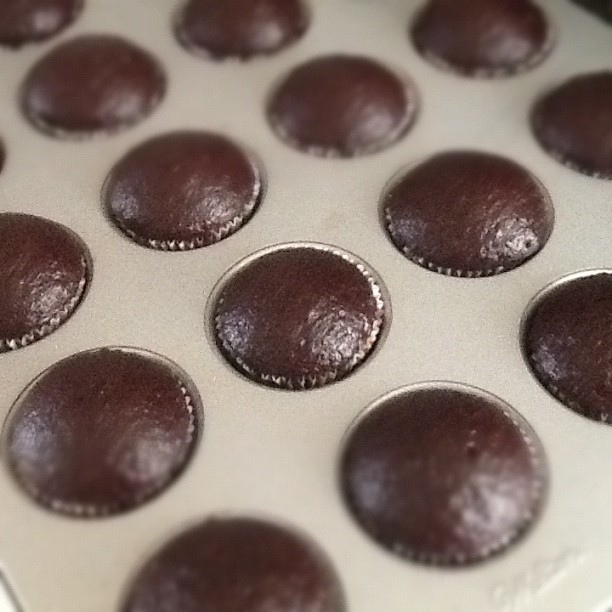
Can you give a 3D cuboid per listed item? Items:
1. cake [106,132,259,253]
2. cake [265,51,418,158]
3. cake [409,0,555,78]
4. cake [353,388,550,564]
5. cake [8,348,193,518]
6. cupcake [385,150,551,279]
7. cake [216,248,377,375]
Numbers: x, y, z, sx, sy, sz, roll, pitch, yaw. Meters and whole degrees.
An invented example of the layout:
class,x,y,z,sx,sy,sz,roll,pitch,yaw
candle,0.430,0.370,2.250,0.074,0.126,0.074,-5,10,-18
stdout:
class,x,y,z,sx,sy,sz,roll,pitch,yaw
cake,-0.129,-0.122,0.838,0.160,0.045,0.140,-11,56,-8
cake,0.042,-0.226,0.891,0.175,0.040,0.135,-8,56,-6
cake,0.204,-0.312,0.922,0.162,0.047,0.102,8,55,5
cake,0.119,0.136,0.709,0.174,0.048,0.200,6,40,11
cake,-0.188,0.106,0.720,0.169,0.039,0.157,-1,56,-1
cupcake,0.163,-0.093,0.809,0.165,0.048,0.129,15,57,10
cake,-0.007,0.003,0.765,0.148,0.042,0.131,-18,58,-12
